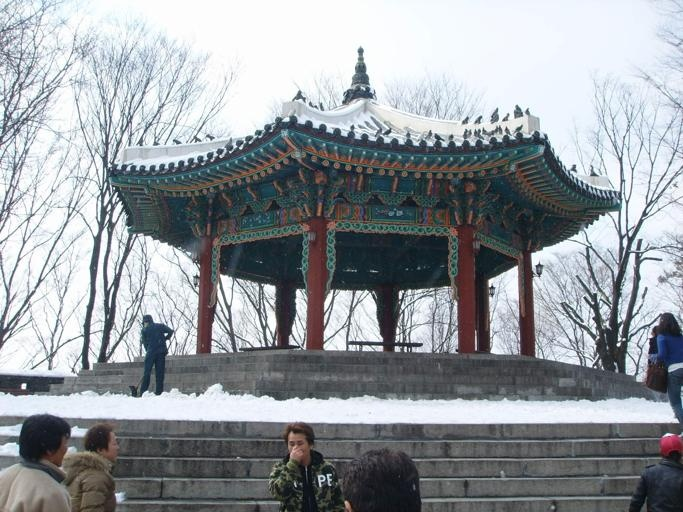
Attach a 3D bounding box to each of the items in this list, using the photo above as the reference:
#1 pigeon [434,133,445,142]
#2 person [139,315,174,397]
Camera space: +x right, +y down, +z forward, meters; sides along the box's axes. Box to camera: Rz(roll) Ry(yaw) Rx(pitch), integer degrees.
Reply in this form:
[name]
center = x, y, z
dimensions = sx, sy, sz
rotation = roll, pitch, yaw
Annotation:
[pigeon]
center = 2.064, -2.530, 20.293
dimensions = 0.133, 0.081, 0.216
rotation = 24, 14, 21
[person]
center = -3.672, 1.859, 18.852
dimensions = 0.588, 1.796, 0.500
rotation = -4, 20, -18
